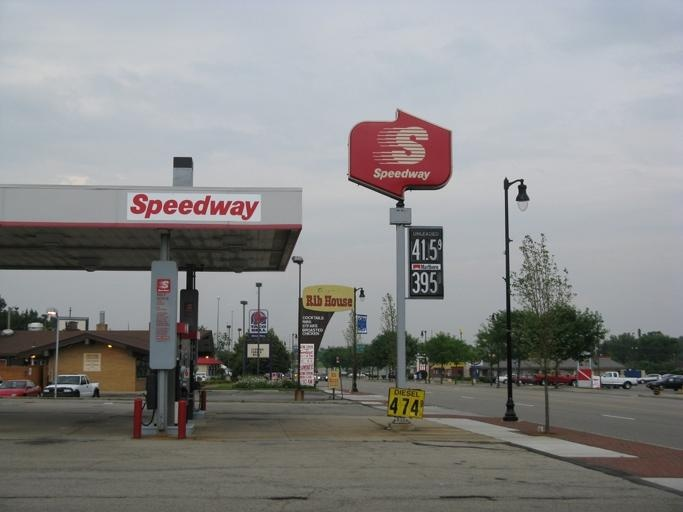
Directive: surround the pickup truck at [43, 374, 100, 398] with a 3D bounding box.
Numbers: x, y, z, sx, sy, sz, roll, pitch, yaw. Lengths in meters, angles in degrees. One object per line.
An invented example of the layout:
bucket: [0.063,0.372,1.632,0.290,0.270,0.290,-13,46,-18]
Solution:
pickup truck: [-14.746,7.093,51.523,1.933,1.177,3.810,1,-5,14]
